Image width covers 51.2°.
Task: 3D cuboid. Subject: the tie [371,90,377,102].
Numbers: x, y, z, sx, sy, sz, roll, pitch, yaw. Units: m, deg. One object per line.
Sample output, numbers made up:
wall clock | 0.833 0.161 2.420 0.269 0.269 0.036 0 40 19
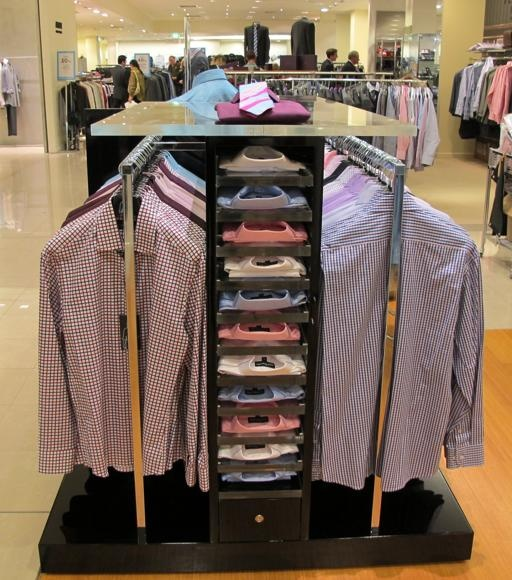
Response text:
tie | 1.433 -2.373 6.520 0.090 0.148 0.104 3 19 8

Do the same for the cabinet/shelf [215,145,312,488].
cabinet/shelf | 0.024 0.092 1.408 0.256 0.920 0.233 1 19 4

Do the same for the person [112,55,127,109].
person | -3.002 -4.510 11.772 0.314 0.838 0.890 -7 20 -20

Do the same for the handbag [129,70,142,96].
handbag | -2.460 -4.176 10.752 0.247 0.520 0.162 -4 20 -12
